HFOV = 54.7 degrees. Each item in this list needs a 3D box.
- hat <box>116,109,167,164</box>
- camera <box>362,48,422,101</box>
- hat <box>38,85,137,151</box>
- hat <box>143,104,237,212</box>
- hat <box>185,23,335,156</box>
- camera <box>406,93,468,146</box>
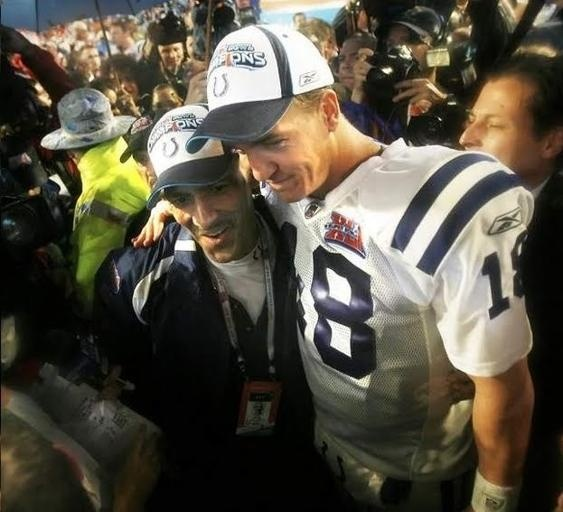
[{"bbox_3d":[-0.776,-0.603,3.021,0.097,0.336,0.214,30,16,-21],"label":"hat"},{"bbox_3d":[0.533,-0.903,2.711,0.186,0.305,0.239,-8,-8,-35],"label":"camera"},{"bbox_3d":[-1.160,-0.801,3.248,0.367,0.214,0.432,-2,32,9],"label":"hat"},{"bbox_3d":[-0.431,-0.520,2.506,0.397,0.393,0.618,-11,18,12],"label":"hat"},{"bbox_3d":[-0.093,-0.685,2.076,0.448,0.396,0.684,1,25,33],"label":"hat"},{"bbox_3d":[0.758,-0.623,2.659,0.235,0.186,0.281,7,66,28],"label":"camera"}]
